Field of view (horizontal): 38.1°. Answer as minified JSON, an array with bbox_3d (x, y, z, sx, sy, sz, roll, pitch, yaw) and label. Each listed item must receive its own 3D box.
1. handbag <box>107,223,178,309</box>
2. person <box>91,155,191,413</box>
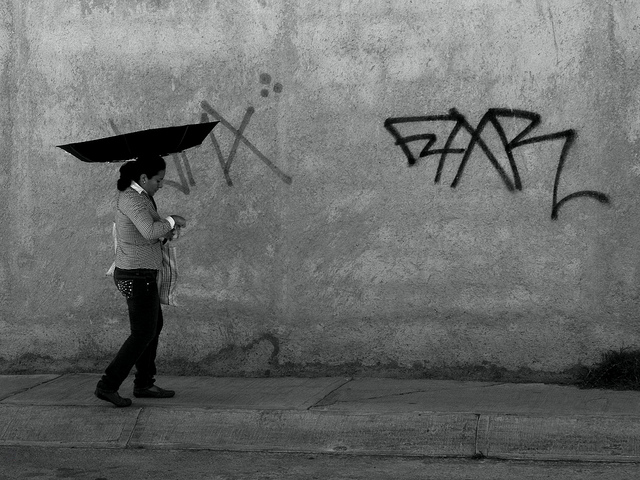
[{"bbox_3d":[-1.470,0.217,7.844,0.630,0.829,0.483,9,11,5],"label":"handbag"},{"bbox_3d":[-1.519,0.324,7.986,0.692,2.131,1.260,1,7,-8],"label":"person"}]
